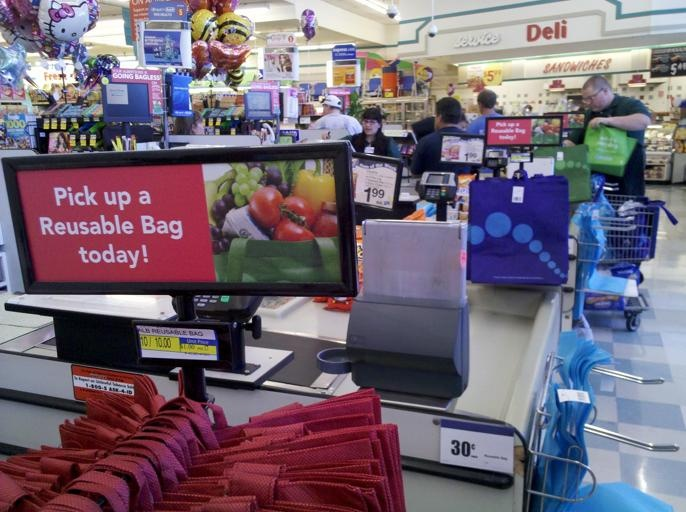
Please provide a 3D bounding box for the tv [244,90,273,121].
[{"bbox_3d":[-1.303,-2.325,8.054,0.400,0.428,0.225,-5,9,-12],"label":"tv"}]

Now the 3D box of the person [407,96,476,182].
[{"bbox_3d":[0.985,-1.213,5.402,0.608,0.839,1.283,1,14,13],"label":"person"}]

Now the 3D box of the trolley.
[{"bbox_3d":[2.141,-0.068,4.241,0.800,1.119,0.653,-2,-4,9],"label":"trolley"}]

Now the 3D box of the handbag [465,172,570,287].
[{"bbox_3d":[0.740,-0.103,2.221,0.472,0.541,0.181,0,7,7],"label":"handbag"}]

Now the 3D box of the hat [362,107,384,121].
[{"bbox_3d":[0.319,-1.629,6.055,0.212,0.173,0.377,-2,14,2],"label":"hat"}]

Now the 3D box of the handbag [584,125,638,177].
[{"bbox_3d":[2.440,-0.982,4.889,0.476,0.437,0.433,9,25,18],"label":"handbag"}]

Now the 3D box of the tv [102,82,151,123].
[{"bbox_3d":[-2.399,-1.687,5.728,0.046,0.386,0.456,5,11,42],"label":"tv"}]

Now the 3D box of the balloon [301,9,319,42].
[{"bbox_3d":[-0.834,-5.479,12.267,0.323,0.675,0.631,-4,14,-7],"label":"balloon"}]
